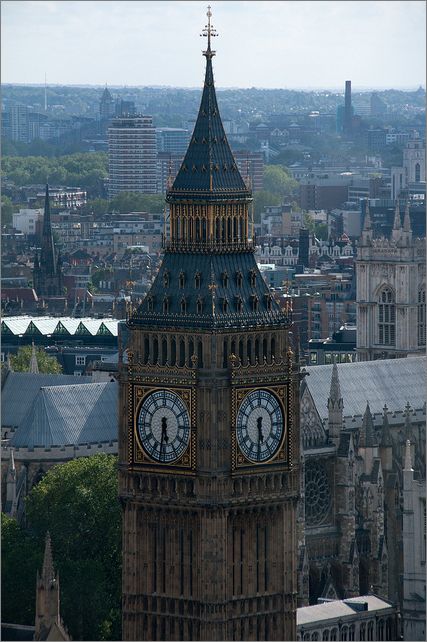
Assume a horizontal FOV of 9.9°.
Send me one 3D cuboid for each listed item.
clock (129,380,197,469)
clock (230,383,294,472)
[{"bbox_3d":[-1.092,2.415,57.008,1.486,2.261,0.132,3,28,3],"label":"clock"},{"bbox_3d":[1.138,2.504,57.003,0.224,2.214,2.154,1,5,38],"label":"clock"}]
